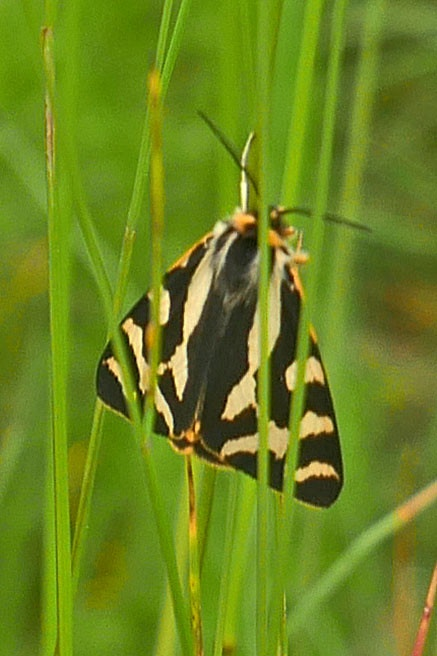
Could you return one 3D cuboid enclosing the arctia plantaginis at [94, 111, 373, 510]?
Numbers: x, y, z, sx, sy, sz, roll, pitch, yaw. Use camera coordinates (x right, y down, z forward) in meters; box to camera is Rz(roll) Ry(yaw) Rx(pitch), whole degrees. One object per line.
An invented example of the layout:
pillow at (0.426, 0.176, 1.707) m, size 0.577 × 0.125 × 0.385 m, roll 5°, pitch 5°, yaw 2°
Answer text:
arctia plantaginis at (0.012, -0.029, 0.701) m, size 0.236 × 0.229 × 0.288 m, roll 13°, pitch -59°, yaw 5°
